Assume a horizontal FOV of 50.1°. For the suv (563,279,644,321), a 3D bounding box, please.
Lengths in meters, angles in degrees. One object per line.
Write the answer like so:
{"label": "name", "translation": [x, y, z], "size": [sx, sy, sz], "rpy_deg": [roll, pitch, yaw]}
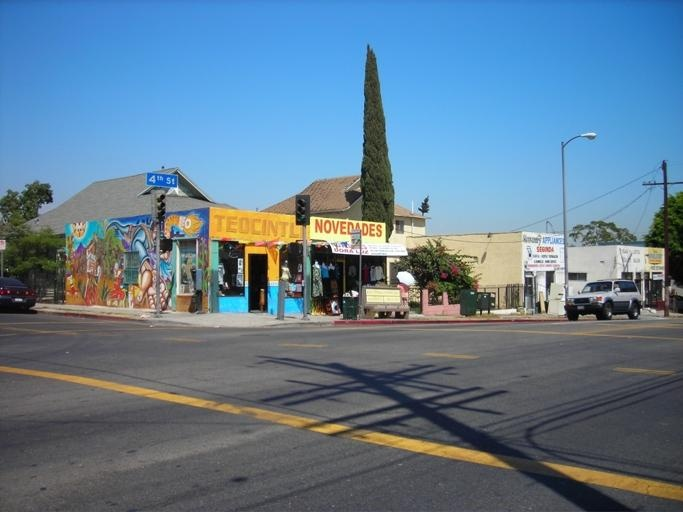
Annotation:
{"label": "suv", "translation": [12.239, 2.050, 33.700], "size": [3.175, 1.624, 1.805], "rpy_deg": [9, -12, -44]}

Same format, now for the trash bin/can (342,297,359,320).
{"label": "trash bin/can", "translation": [0.339, 2.148, 30.000], "size": [0.711, 1.472, 0.759], "rpy_deg": [-1, -5, 8]}

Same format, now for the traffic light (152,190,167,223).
{"label": "traffic light", "translation": [-6.858, -1.846, 27.545], "size": [0.390, 1.110, 1.790], "rpy_deg": [-1, 5, -15]}

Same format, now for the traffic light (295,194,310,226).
{"label": "traffic light", "translation": [-1.464, -1.688, 27.031], "size": [0.356, 1.137, 0.806], "rpy_deg": [3, 6, 28]}

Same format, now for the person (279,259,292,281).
{"label": "person", "translation": [-2.408, 0.680, 32.155], "size": [0.424, 0.971, 1.753], "rpy_deg": [0, 5, -5]}
